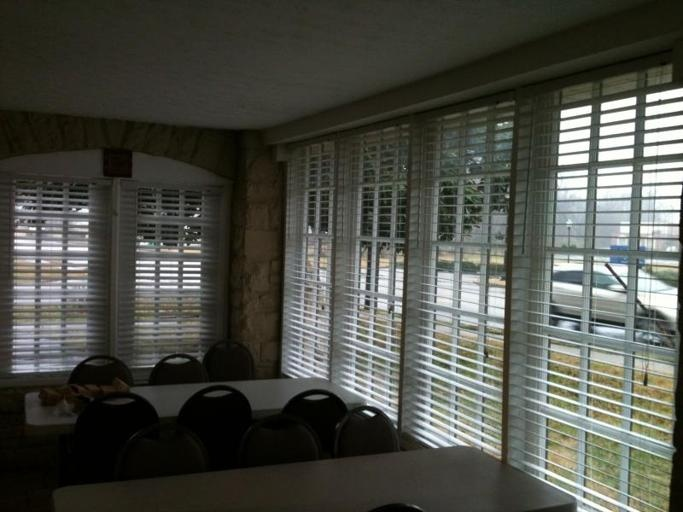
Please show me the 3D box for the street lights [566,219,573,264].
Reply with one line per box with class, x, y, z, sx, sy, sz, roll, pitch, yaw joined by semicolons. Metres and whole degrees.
street lights;1.353;-0.101;3.423;0.037;0.240;0.058;2;2;19
